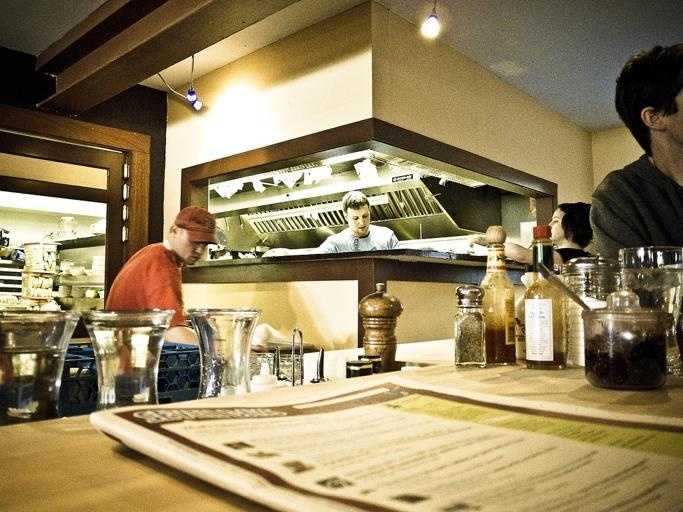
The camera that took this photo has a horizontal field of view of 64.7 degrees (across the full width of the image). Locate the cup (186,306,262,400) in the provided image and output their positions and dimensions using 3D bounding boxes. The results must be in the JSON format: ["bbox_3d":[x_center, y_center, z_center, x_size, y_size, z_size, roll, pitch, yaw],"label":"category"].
[{"bbox_3d":[-0.208,0.172,1.036,0.154,0.185,0.160,-1,-2,0],"label":"cup"}]

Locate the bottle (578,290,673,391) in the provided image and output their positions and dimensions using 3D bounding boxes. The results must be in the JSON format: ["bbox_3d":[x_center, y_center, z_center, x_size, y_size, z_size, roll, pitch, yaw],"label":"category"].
[{"bbox_3d":[0.538,0.164,1.027,0.164,0.163,0.158,3,-7,-28],"label":"bottle"}]

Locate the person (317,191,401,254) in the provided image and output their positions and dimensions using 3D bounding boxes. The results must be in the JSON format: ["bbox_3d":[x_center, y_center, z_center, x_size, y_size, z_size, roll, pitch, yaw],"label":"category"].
[{"bbox_3d":[0.102,-0.385,6.162,0.803,0.666,0.789,2,2,35],"label":"person"}]

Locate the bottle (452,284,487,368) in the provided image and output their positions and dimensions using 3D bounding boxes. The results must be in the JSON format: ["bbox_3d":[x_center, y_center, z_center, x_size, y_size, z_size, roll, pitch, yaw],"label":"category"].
[{"bbox_3d":[0.323,0.170,1.341,0.078,0.195,0.074,1,1,0],"label":"bottle"}]

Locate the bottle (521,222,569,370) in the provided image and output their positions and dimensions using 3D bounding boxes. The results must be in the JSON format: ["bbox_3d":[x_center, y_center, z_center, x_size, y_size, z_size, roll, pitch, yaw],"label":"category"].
[{"bbox_3d":[0.490,0.097,1.289,0.089,0.337,0.180,1,2,26],"label":"bottle"}]

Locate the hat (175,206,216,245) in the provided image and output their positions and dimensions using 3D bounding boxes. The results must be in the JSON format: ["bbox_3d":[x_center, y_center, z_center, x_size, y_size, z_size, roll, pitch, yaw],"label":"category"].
[{"bbox_3d":[-0.757,-0.151,2.877,0.230,0.125,0.160,22,5,16],"label":"hat"}]

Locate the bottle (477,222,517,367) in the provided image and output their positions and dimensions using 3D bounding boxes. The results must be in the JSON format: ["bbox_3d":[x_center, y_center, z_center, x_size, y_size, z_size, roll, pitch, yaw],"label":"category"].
[{"bbox_3d":[0.415,0.096,1.419,0.089,0.351,0.194,1,2,17],"label":"bottle"}]
